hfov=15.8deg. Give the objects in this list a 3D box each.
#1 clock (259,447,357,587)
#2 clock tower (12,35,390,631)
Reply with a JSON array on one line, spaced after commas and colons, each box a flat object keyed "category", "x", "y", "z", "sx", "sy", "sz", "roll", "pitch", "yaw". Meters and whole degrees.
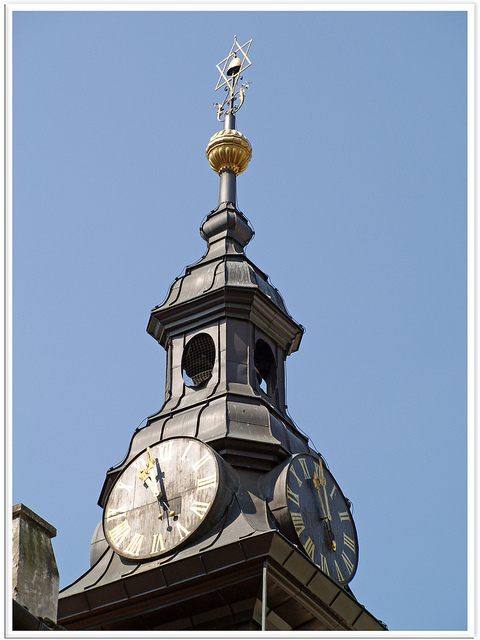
[{"category": "clock", "x": 1.452, "y": 3.620, "z": 31.188, "sx": 1.928, "sy": 2.525, "sz": 0.382, "roll": 32, "pitch": -51, "yaw": -31}, {"category": "clock tower", "x": -0.459, "y": 2.894, "z": 29.881, "sx": 5.693, "sy": 14.215, "sz": 5.757, "roll": -15, "pitch": -21, "yaw": 43}]
